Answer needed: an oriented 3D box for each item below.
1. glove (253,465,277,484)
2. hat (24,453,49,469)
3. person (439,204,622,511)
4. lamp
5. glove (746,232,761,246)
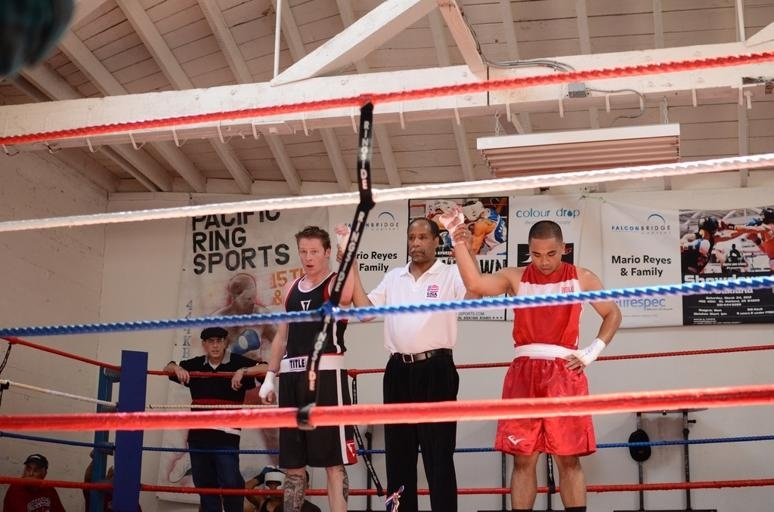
[{"bbox_3d":[-1.190,2.158,7.195,0.158,0.136,0.211,3,-1,-8],"label":"glove"},{"bbox_3d":[-3.339,1.945,6.900,0.140,0.093,0.181,5,-33,-6],"label":"hat"},{"bbox_3d":[0.907,0.601,4.336,0.723,1.775,1.220,-12,-21,37],"label":"person"},{"bbox_3d":[1.504,-0.828,5.739,1.516,0.171,0.594,-2,-16,11],"label":"lamp"},{"bbox_3d":[3.538,-0.175,7.006,0.130,0.072,0.093,45,-27,-22],"label":"glove"}]
